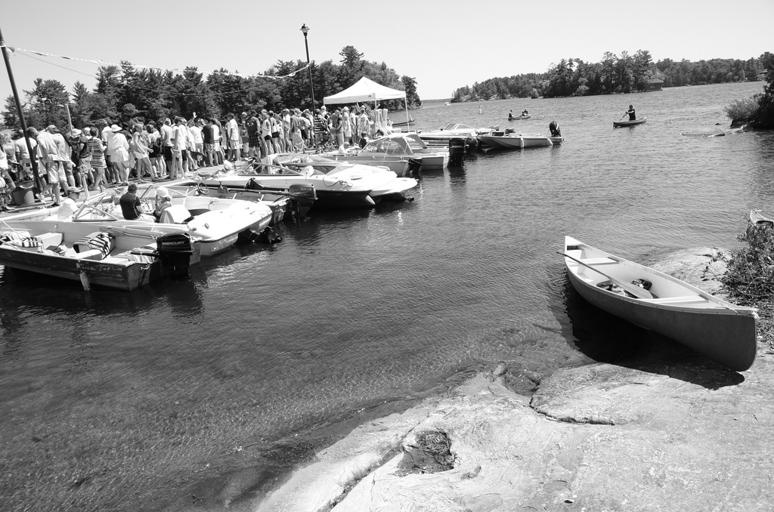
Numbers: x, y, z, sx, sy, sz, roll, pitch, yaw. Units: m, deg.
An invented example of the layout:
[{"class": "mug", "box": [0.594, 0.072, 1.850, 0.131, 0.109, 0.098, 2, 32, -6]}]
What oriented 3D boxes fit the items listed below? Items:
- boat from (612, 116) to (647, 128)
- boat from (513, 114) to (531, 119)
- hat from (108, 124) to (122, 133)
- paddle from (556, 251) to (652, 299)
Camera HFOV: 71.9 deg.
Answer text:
[{"class": "boat", "box": [23.660, -12.928, 52.060, 4.267, 0.793, 1.662, -16, 16, -43]}, {"class": "boat", "box": [17.884, -18.276, 70.487, 1.628, 0.565, 2.886, 0, 13, 25]}, {"class": "hat", "box": [-11.768, -5.449, 22.990, 0.506, 0.133, 0.473, 0, 30, 24]}, {"class": "paddle", "box": [5.711, 0.504, 13.930, 2.376, 0.112, 0.646, 24, -9, 40]}]
